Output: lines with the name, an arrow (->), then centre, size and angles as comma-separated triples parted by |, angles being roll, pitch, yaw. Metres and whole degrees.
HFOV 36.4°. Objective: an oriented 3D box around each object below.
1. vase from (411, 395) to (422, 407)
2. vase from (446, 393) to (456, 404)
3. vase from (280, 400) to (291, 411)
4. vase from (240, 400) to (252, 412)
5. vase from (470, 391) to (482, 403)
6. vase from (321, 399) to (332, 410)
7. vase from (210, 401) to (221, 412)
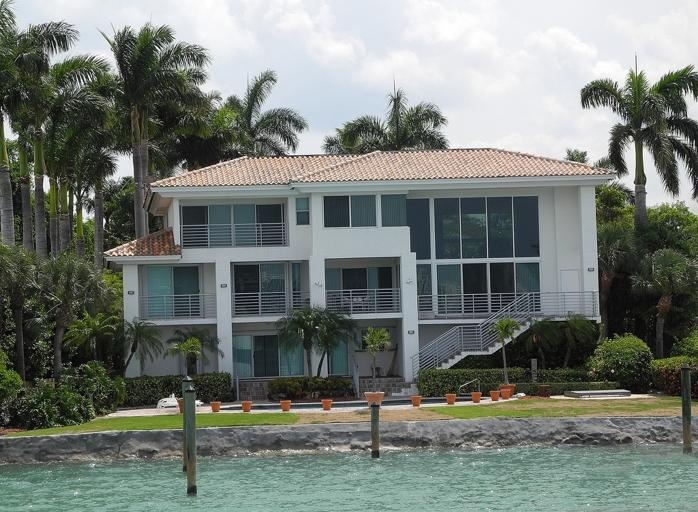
vase -> 3.198, 7.016, 51.433 | 0.437, 0.395, 0.452 | 4, 2, 39
vase -> 4.903, 6.890, 51.202 | 0.406, 0.482, 0.501 | -2, 2, 3
vase -> -3.062, 7.270, 51.384 | 0.399, 0.476, 0.523 | 4, -7, -8
vase -> -4.923, 7.253, 51.218 | 0.460, 0.424, 0.488 | 1, 1, -17
vase -> 6.198, 6.943, 52.046 | 0.406, 0.380, 0.438 | 1, -5, -8
vase -> -1.064, 7.182, 51.206 | 0.491, 0.459, 0.433 | 1, 4, -11
vase -> -6.495, 7.260, 51.323 | 0.442, 0.411, 0.479 | 1, 1, -5
